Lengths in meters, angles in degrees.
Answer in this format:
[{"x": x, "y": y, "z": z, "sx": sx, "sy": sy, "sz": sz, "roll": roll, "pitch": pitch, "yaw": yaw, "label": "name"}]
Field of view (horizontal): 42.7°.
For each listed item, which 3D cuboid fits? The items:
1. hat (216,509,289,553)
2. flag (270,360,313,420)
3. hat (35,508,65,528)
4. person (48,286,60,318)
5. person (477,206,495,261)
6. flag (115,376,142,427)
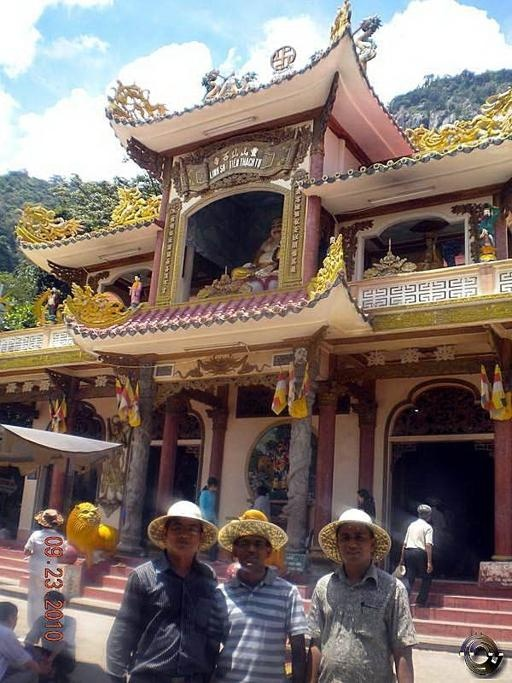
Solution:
[{"x": -0.022, "y": 1.101, "z": 3.870, "sx": 0.402, "sy": 0.141, "sz": 0.381, "roll": -1, "pitch": -30, "yaw": 4, "label": "hat"}, {"x": 0.556, "y": 0.727, "z": 10.140, "sx": 0.550, "sy": 0.817, "sz": 0.915, "roll": -1, "pitch": 9, "yaw": 4, "label": "flag"}, {"x": -2.195, "y": 1.887, "z": 6.926, "sx": 0.298, "sy": 0.250, "sz": 0.072, "roll": 6, "pitch": -23, "yaw": -21, "label": "hat"}, {"x": -4.812, "y": -0.860, "z": 15.546, "sx": 0.230, "sy": 0.733, "sz": 0.902, "roll": -4, "pitch": 9, "yaw": -17, "label": "person"}, {"x": 3.476, "y": -1.649, "z": 9.833, "sx": 0.266, "sy": 0.877, "sz": 1.318, "roll": 1, "pitch": 9, "yaw": 18, "label": "person"}, {"x": -2.308, "y": 1.126, "z": 11.871, "sx": 0.401, "sy": 0.926, "sz": 0.621, "roll": -3, "pitch": 9, "yaw": -10, "label": "flag"}]
